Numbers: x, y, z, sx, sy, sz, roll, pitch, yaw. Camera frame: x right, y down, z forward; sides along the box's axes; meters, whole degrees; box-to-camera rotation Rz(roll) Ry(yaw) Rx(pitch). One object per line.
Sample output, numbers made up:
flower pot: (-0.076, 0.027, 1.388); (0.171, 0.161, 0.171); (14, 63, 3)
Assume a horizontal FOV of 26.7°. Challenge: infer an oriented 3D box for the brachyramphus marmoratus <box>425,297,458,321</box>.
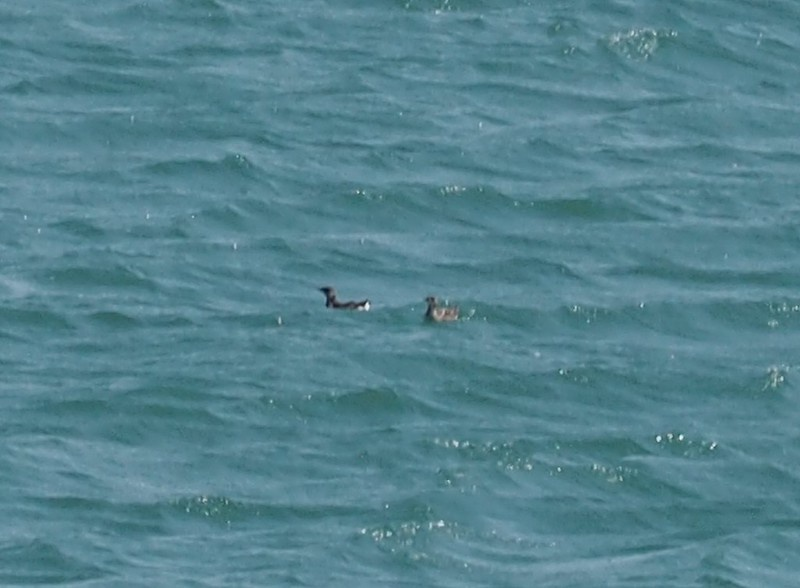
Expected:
brachyramphus marmoratus: (0.582, 0.250, 23.056); (0.472, 0.163, 0.320); (2, 73, 1)
